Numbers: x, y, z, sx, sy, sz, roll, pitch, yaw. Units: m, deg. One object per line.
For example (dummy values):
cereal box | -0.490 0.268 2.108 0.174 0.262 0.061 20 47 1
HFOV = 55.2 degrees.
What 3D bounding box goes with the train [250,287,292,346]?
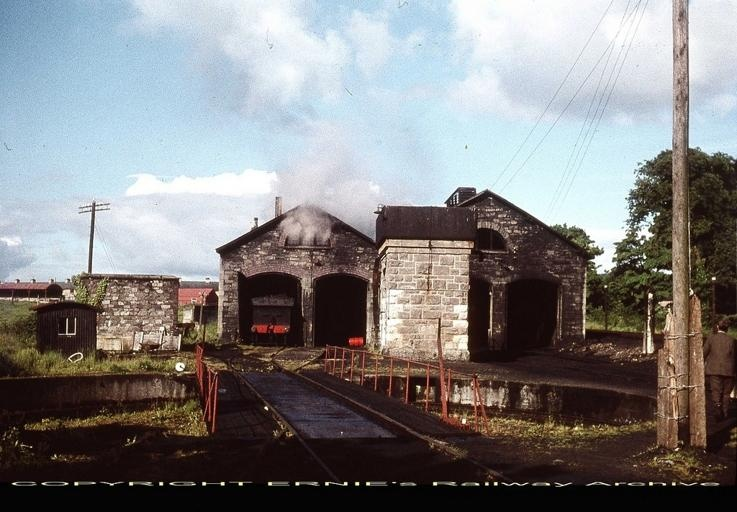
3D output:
train | -5.117 3.352 38.180 2.998 3.430 2.162 1 -14 -3
